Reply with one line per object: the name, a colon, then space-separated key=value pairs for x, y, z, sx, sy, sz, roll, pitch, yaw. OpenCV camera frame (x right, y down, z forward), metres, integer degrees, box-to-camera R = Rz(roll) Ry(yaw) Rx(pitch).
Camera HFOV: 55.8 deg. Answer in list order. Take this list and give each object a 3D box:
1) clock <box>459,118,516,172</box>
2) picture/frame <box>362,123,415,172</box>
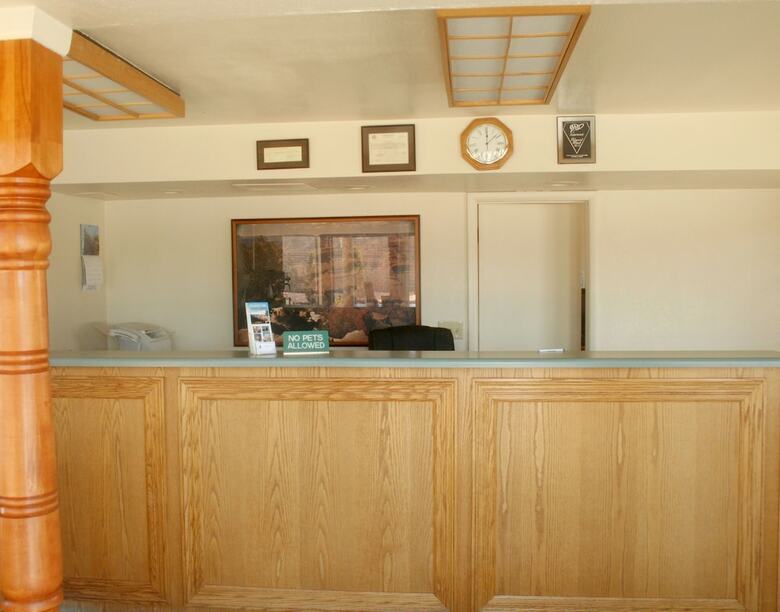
clock: x=0.642 y=-1.075 z=4.847 sx=0.484 sy=0.358 sz=0.043 roll=0 pitch=5 yaw=3
picture/frame: x=-0.009 y=-1.059 z=4.902 sx=0.445 sy=0.280 sz=0.037 roll=0 pitch=-2 yaw=0
